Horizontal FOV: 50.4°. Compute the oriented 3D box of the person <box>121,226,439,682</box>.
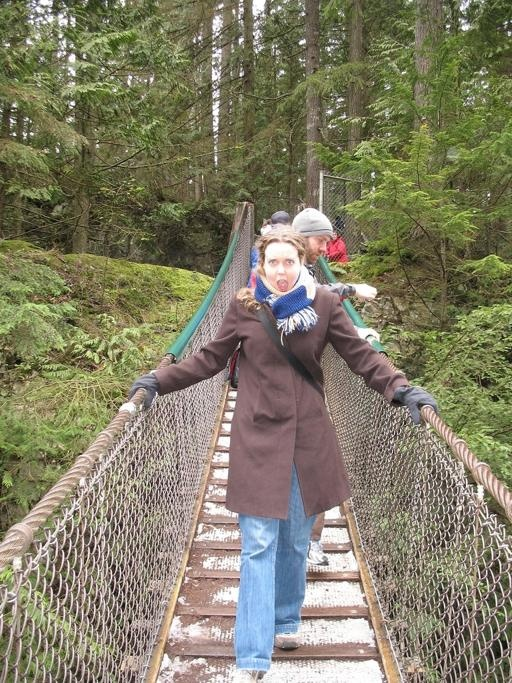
[{"bbox_3d":[0.085,0.439,2.008,0.881,1.686,0.588,-4,13,-22],"label":"person"}]

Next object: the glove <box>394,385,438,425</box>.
[{"bbox_3d":[0.551,0.219,1.917,0.067,0.098,0.170,-14,15,-15],"label":"glove"}]

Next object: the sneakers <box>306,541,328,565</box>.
[{"bbox_3d":[0.316,1.105,2.819,0.068,0.077,0.170,10,-23,-8],"label":"sneakers"}]

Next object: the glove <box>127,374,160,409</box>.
[{"bbox_3d":[-0.404,0.177,1.988,0.045,0.106,0.105,-11,38,42],"label":"glove"}]
